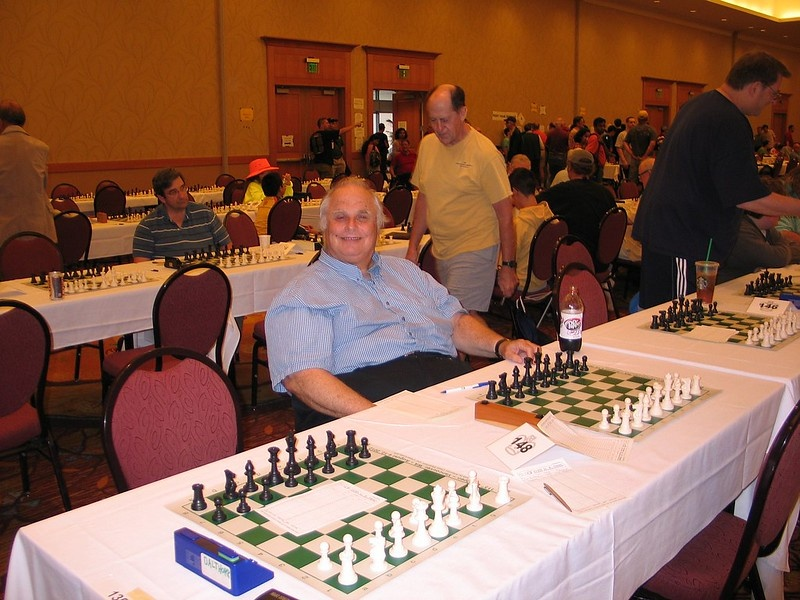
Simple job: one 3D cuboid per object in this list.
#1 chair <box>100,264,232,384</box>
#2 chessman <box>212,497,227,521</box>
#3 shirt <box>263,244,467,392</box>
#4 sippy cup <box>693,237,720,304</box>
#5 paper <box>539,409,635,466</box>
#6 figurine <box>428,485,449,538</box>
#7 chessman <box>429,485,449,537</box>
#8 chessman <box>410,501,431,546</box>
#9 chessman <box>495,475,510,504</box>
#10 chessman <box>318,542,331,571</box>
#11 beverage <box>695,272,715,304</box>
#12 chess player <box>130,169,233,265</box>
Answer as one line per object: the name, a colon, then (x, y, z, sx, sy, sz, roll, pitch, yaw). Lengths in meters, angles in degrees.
chair: (-1.097, 0.109, 2.973, 0.445, 0.801, 0.416, 22, 23, 41)
chessman: (-0.362, 0.422, 1.259, 0.028, 0.043, 0.030, -5, 13, -19)
shirt: (-0.123, 0.065, 2.334, 0.499, 0.504, 0.904, 5, 13, 41)
sippy cup: (1.387, -0.128, 2.839, 0.100, 0.297, 0.103, 3, 1, 0)
paper: (0.468, 0.359, 1.574, 0.187, 0.033, 0.102, 20, 26, 34)
figurine: (0.074, 0.408, 1.251, 0.030, 0.032, 0.064, 1, 12, -20)
chessman: (0.077, 0.409, 1.238, 0.036, 0.074, 0.105, 0, 13, 4)
chessman: (0.041, 0.427, 1.196, 0.037, 0.062, 0.070, -1, 13, 1)
chessman: (0.218, 0.403, 1.332, 0.039, 0.069, 0.042, 0, -2, 15)
chessman: (-0.132, 0.457, 1.115, 0.025, 0.046, 0.025, 1, 12, 7)
beverage: (1.362, -0.052, 2.808, 0.089, 0.140, 0.088, -19, 24, -32)
chess player: (-1.495, -0.511, 4.313, 0.647, 0.694, 0.379, -12, 13, -28)
